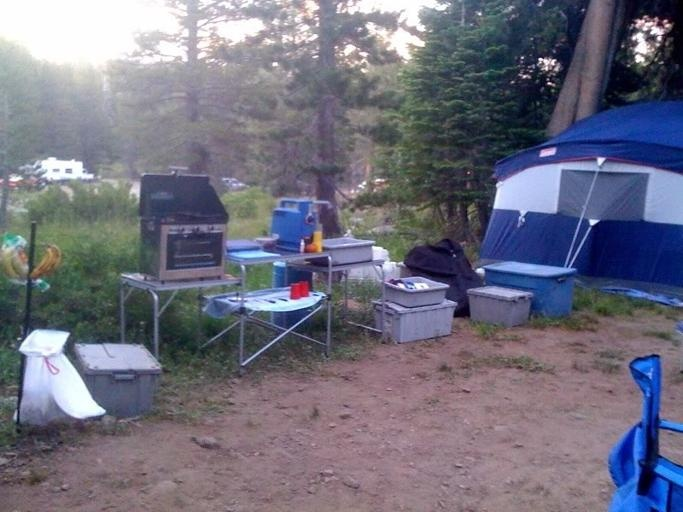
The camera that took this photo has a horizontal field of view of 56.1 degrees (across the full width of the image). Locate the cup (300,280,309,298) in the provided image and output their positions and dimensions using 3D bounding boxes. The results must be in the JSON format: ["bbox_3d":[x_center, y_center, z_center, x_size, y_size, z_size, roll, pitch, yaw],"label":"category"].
[{"bbox_3d":[-0.447,0.427,8.061,0.145,0.202,0.151,-1,3,0],"label":"cup"}]

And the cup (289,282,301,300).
[{"bbox_3d":[-0.566,0.431,7.925,0.133,0.188,0.148,0,8,-5],"label":"cup"}]

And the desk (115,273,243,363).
[{"bbox_3d":[-1.927,0.470,7.730,1.042,1.445,1.434,6,6,43],"label":"desk"}]

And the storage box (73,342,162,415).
[{"bbox_3d":[-2.201,1.304,6.695,0.614,0.527,0.885,5,-2,-12],"label":"storage box"}]

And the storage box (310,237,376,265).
[{"bbox_3d":[0.037,-0.058,8.494,0.549,0.195,0.456,-4,6,-40],"label":"storage box"}]

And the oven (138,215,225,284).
[{"bbox_3d":[-1.787,-0.071,7.304,0.907,0.668,0.583,-3,11,-41],"label":"oven"}]

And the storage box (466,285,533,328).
[{"bbox_3d":[2.448,0.781,10.031,0.709,0.528,0.866,-4,7,-36],"label":"storage box"}]

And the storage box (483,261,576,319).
[{"bbox_3d":[2.982,0.445,10.311,0.829,0.725,1.178,-4,8,-40],"label":"storage box"}]

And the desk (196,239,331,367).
[{"bbox_3d":[-0.789,0.639,8.388,1.194,1.248,1.446,-13,-1,-20],"label":"desk"}]

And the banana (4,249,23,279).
[{"bbox_3d":[-3.163,0.082,6.211,0.193,0.263,0.084,-4,13,-41],"label":"banana"}]

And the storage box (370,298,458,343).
[{"bbox_3d":[1.077,0.858,9.231,0.934,0.481,0.598,-3,4,-31],"label":"storage box"}]

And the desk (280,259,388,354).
[{"bbox_3d":[-0.013,0.557,8.916,1.221,1.216,1.200,-6,9,-34],"label":"desk"}]
